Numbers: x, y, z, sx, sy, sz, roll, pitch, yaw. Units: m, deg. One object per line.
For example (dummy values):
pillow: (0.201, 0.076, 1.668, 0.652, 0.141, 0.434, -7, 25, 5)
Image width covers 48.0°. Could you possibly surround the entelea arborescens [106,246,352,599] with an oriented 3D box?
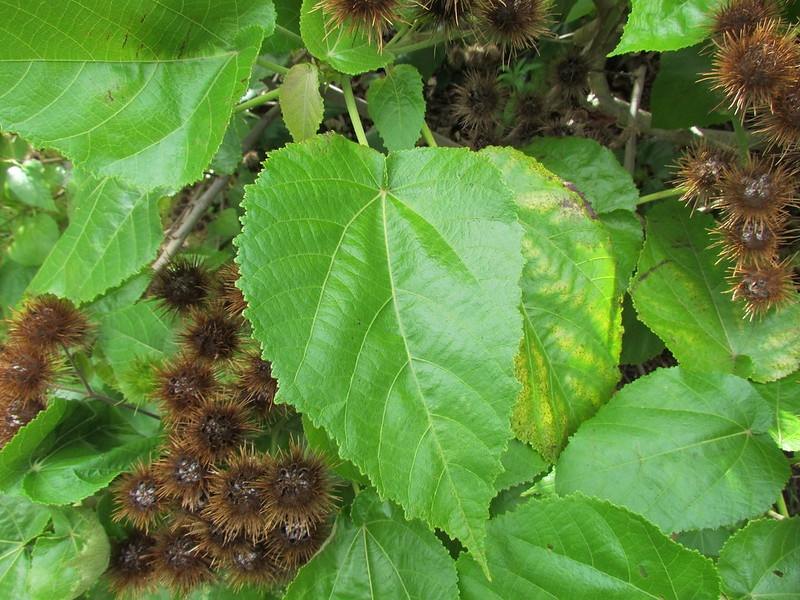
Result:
entelea arborescens: (-0.578, 0.505, 3.468, 0.888, 1.245, 0.583, 10, 41, 16)
